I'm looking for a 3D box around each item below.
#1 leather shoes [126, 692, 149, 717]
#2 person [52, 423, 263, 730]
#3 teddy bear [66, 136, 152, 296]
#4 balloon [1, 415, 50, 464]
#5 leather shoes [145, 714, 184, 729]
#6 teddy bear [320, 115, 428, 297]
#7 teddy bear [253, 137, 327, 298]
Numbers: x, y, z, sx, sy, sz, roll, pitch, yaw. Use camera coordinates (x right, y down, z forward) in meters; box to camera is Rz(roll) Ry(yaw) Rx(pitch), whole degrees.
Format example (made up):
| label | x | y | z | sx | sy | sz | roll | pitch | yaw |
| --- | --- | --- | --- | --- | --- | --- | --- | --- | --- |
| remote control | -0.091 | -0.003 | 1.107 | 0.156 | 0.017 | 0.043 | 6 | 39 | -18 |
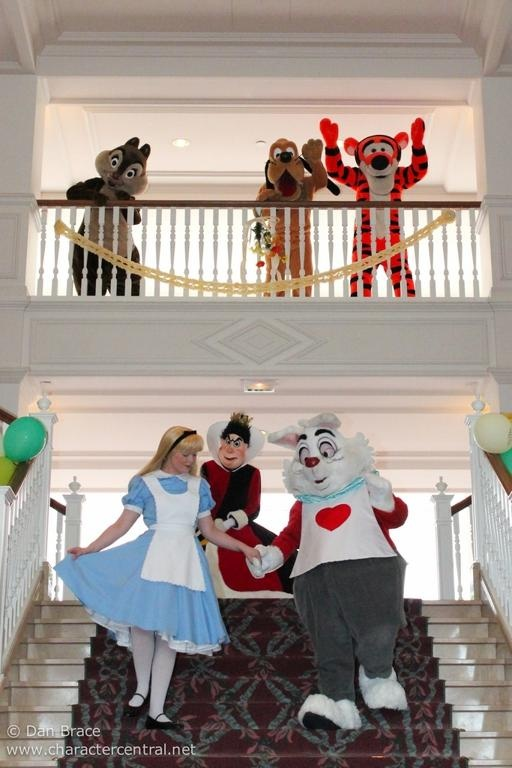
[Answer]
| label | x | y | z | sx | sy | sz | roll | pitch | yaw |
| --- | --- | --- | --- | --- | --- | --- | --- | --- | --- |
| leather shoes | -0.425 | 1.153 | 2.563 | 0.042 | 0.043 | 0.111 | -2 | -17 | 4 |
| person | -0.396 | 0.698 | 2.765 | 0.641 | 1.064 | 0.458 | 3 | -10 | -45 |
| teddy bear | -1.184 | -1.373 | 5.829 | 0.620 | 1.496 | 0.647 | -3 | -7 | -3 |
| balloon | -1.273 | 0.309 | 3.915 | 0.236 | 0.250 | 0.179 | -4 | -7 | 4 |
| leather shoes | -0.317 | 1.164 | 2.478 | 0.134 | 0.047 | 0.044 | -3 | -12 | 7 |
| teddy bear | 1.012 | -1.434 | 5.927 | 0.850 | 1.721 | 1.005 | -5 | -7 | 13 |
| teddy bear | 0.309 | -1.347 | 5.763 | 0.643 | 1.435 | 0.719 | -3 | -7 | -3 |
